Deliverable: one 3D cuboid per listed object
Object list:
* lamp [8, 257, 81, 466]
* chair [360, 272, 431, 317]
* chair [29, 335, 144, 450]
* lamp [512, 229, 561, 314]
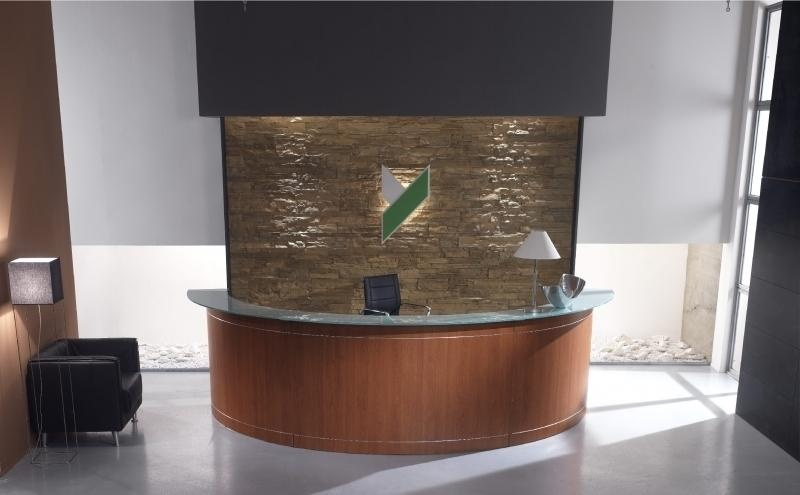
[{"bbox_3d":[-4.237,1.258,7.228,0.543,2.283,0.740,-6,12,-20],"label":"lamp"},{"bbox_3d":[-0.117,0.640,8.162,0.678,0.912,0.665,-4,4,-41],"label":"chair"},{"bbox_3d":[-3.957,1.750,7.755,1.118,0.972,1.355,1,2,-17],"label":"chair"},{"bbox_3d":[1.688,0.308,7.505,0.644,0.972,0.617,3,-1,-6],"label":"lamp"}]
